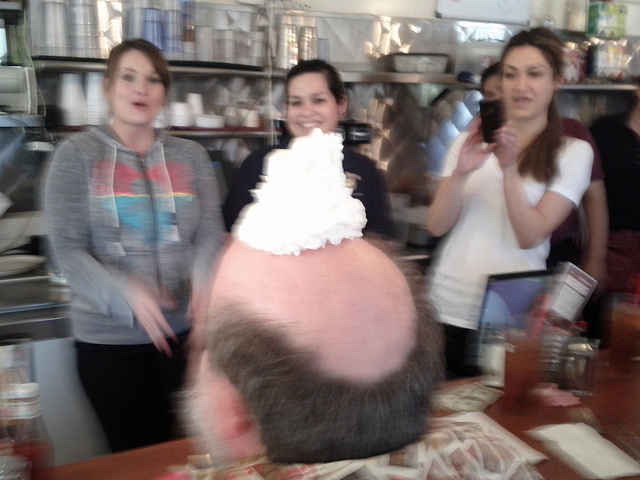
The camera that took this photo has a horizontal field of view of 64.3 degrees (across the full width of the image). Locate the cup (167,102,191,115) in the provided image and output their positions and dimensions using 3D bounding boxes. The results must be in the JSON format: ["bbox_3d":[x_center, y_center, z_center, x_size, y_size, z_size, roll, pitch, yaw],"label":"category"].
[{"bbox_3d":[-0.810,-0.751,2.913,0.107,0.095,0.105,2,14,0],"label":"cup"}]

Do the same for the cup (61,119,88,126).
[{"bbox_3d":[-1.309,-0.625,2.685,0.131,0.027,0.040,1,14,0],"label":"cup"}]

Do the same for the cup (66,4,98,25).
[{"bbox_3d":[-1.210,-1.144,2.576,0.120,0.104,0.111,1,13,0],"label":"cup"}]

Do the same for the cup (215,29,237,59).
[{"bbox_3d":[-0.570,-1.163,3.051,0.170,0.170,0.164,1,13,0],"label":"cup"}]

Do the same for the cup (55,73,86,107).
[{"bbox_3d":[-1.308,-0.782,2.649,0.136,0.170,0.080,-5,15,-23],"label":"cup"}]

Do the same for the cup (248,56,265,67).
[{"bbox_3d":[-0.389,-1.082,3.100,0.077,0.045,0.075,2,20,-1],"label":"cup"}]

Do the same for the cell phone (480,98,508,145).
[{"bbox_3d":[0.596,-0.409,1.758,0.094,0.153,0.165,5,14,16],"label":"cell phone"}]

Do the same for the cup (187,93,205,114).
[{"bbox_3d":[-0.758,-0.824,3.063,0.087,0.122,0.148,-3,14,-13],"label":"cup"}]

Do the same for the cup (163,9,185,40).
[{"bbox_3d":[-0.798,-1.192,2.808,0.146,0.147,0.139,2,24,-1],"label":"cup"}]

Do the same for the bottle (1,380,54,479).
[{"bbox_3d":[-0.562,0.353,0.958,0.084,0.187,0.177,-8,17,-32],"label":"bottle"}]

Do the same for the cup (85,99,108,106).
[{"bbox_3d":[-1.185,-0.725,2.676,0.120,0.033,0.026,4,14,15],"label":"cup"}]
